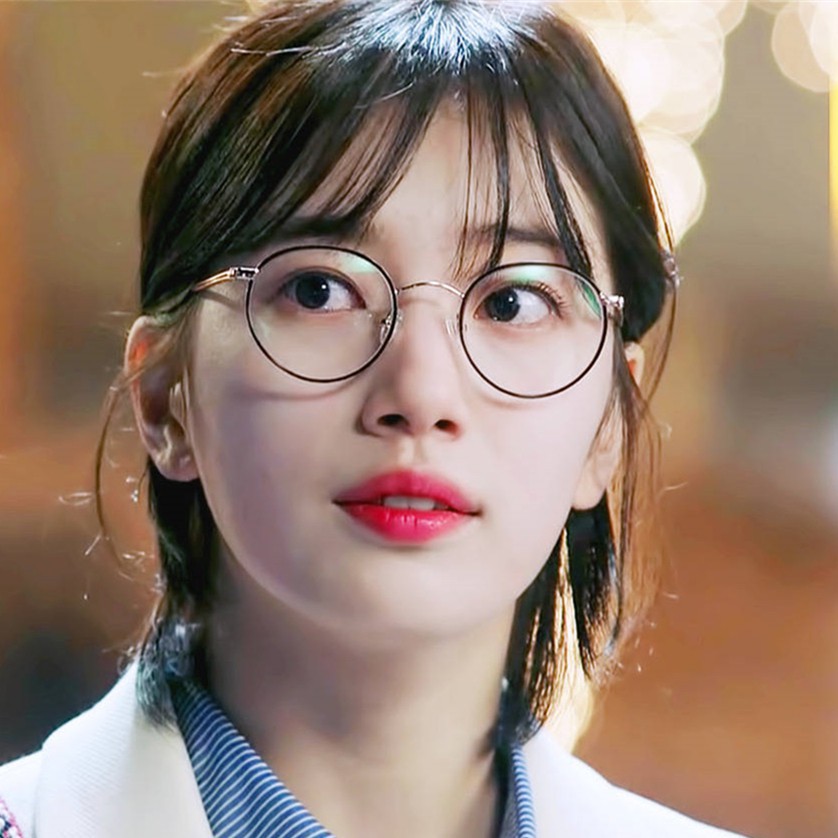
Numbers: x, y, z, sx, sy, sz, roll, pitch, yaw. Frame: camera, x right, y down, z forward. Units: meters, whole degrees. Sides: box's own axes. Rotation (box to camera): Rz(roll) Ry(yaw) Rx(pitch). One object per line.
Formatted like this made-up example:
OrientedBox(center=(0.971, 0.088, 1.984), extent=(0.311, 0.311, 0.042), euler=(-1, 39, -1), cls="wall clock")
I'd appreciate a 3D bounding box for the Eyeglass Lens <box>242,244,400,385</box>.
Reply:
OrientedBox(center=(-0.096, -0.109, 1.183), extent=(0.112, 0.105, 0.045), euler=(1, -9, 4), cls="Eyeglass Lens")
